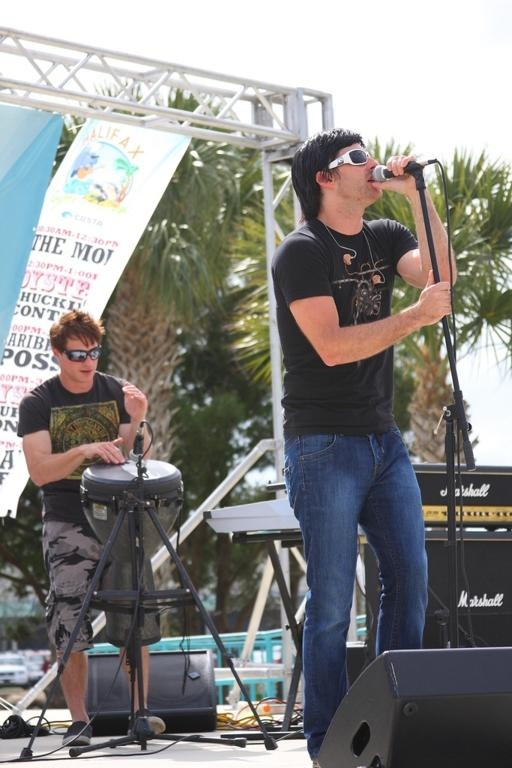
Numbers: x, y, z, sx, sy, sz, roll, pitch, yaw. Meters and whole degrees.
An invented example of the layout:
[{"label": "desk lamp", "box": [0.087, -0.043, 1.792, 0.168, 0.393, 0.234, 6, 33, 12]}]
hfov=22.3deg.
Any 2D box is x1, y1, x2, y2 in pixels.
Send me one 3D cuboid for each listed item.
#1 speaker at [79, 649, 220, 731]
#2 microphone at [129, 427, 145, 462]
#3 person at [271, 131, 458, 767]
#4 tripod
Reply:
[{"label": "speaker", "box": [-0.519, 1.400, 5.680, 0.661, 0.390, 0.538, 3, -24, -18]}, {"label": "microphone", "box": [-0.462, 0.239, 5.066, 0.044, 0.146, 0.195, 5, -10, -6]}, {"label": "person", "box": [0.294, 0.128, 4.149, 0.624, 1.876, 0.705, 0, -2, -21]}, {"label": "tripod", "box": [-0.398, 0.840, 4.976, 0.763, 1.066, 0.648, -2, 1, -28]}]
